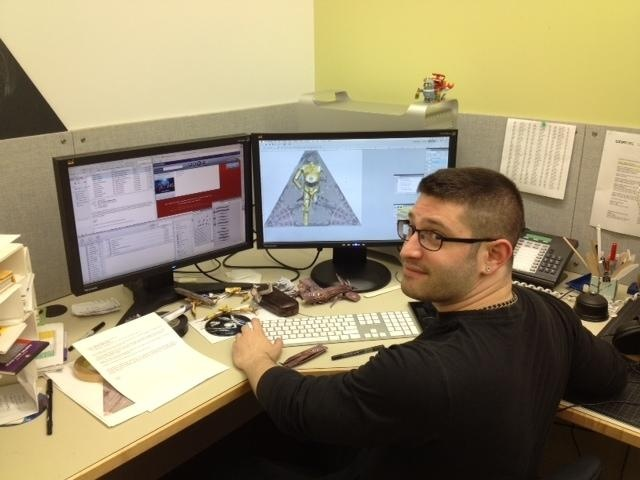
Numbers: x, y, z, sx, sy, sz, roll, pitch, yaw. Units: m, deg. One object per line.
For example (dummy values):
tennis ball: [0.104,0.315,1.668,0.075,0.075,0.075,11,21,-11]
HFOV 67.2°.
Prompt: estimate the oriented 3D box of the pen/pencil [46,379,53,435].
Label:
pen/pencil: [-0.676,0.420,1.201,0.013,0.012,0.104,5,44,-35]

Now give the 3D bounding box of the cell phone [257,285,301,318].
cell phone: [-0.133,0.199,1.588,0.121,0.027,0.068,25,39,30]

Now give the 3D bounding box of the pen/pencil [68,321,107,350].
pen/pencil: [-0.692,0.279,1.463,0.026,0.024,0.164,19,24,13]

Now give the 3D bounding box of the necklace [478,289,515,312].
necklace: [0.420,0.139,1.117,0.055,0.012,0.043,-14,11,-10]

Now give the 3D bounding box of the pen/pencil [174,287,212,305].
pen/pencil: [-0.432,0.190,1.625,0.084,0.021,0.023,21,49,27]

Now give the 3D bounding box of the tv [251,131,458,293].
tv: [0.106,-0.114,1.591,0.596,0.436,0.237,-1,16,-3]

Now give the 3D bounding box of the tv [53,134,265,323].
tv: [-0.535,-0.040,1.545,0.544,0.437,0.213,-19,37,-38]
